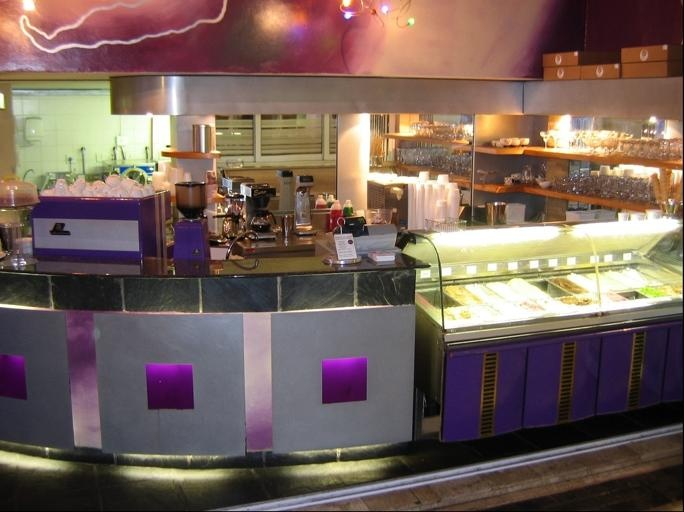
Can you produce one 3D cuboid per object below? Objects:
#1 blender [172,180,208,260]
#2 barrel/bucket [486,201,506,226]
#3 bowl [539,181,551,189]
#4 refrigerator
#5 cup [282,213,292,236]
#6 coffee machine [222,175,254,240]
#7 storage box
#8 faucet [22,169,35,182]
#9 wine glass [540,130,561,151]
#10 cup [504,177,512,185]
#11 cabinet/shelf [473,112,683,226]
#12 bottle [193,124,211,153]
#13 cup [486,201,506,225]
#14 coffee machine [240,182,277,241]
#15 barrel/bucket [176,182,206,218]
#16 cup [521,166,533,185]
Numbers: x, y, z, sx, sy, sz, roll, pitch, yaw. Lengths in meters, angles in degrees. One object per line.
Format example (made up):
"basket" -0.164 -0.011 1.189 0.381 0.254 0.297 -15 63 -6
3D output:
"blender" -1.136 -0.262 4.446 0.291 0.561 0.389 -6 10 -13
"barrel/bucket" 1.401 -0.396 5.543 0.225 0.244 0.223 -1 5 0
"bowl" 2.297 -0.801 6.733 0.085 0.059 0.092 0 8 0
"refrigerator" 1.454 0.553 4.404 1.593 0.961 0.613 -4 10 -16
"cup" -0.481 -0.268 5.367 0.117 0.191 0.118 -3 10 1
"coffee machine" -1.097 -0.519 5.832 0.225 0.587 0.627 -3 24 -29
"storage box" 2.414 -1.717 5.333 0.267 0.367 1.345 -9 12 -26
"faucet" -4.235 -1.089 7.999 0.098 0.160 0.189 -2 11 7
"wine glass" 2.351 -1.324 6.805 0.212 0.241 0.210 -3 6 -15
"cup" 1.958 -0.879 7.001 0.080 0.084 0.081 2 6 0
"cabinet/shelf" 2.488 -0.900 6.278 0.835 1.273 2.364 -9 12 -29
"bottle" -1.549 -1.309 6.608 0.235 0.351 0.216 1 15 0
"cup" 1.407 -0.399 5.506 0.201 0.218 0.199 -1 5 0
"coffee machine" -0.733 -0.399 5.307 0.305 0.472 0.576 -5 11 -9
"barrel/bucket" -1.154 -0.441 4.573 0.261 0.281 0.261 2 16 -1
"cup" 2.188 -0.939 7.018 0.169 0.254 0.183 -1 8 0
